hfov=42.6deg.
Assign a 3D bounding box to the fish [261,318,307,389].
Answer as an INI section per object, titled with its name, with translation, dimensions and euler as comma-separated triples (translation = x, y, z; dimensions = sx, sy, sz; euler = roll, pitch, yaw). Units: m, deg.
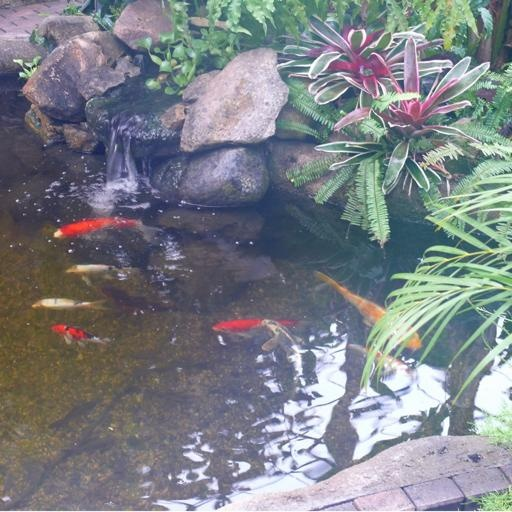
[fish]
translation = 0.240, 0.757, 5.126
dimensions = 0.228, 0.175, 0.542
euler = -35, 46, -2
